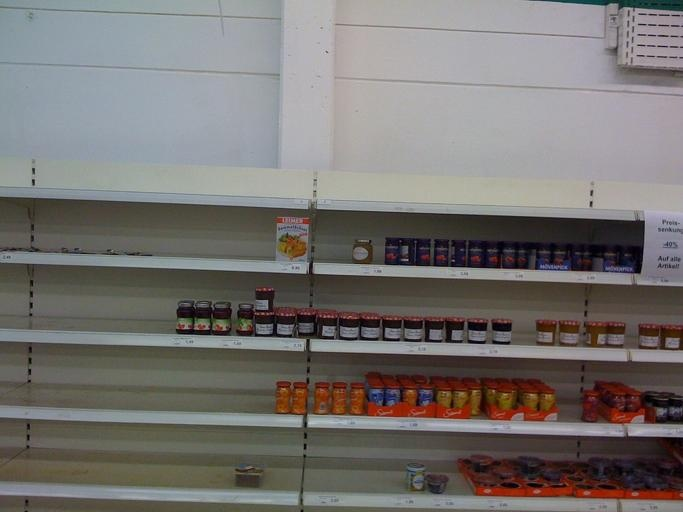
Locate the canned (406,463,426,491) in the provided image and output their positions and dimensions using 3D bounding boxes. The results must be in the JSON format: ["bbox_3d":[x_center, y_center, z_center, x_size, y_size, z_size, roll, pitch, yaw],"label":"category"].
[{"bbox_3d":[0.510,1.503,6.631,0.172,0.157,0.155,1,-93,0],"label":"canned"}]

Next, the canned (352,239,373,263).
[{"bbox_3d":[0.150,-0.027,6.653,0.161,0.148,0.151,1,-93,-1],"label":"canned"}]

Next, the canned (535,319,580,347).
[{"bbox_3d":[1.480,0.529,6.704,0.283,0.179,0.139,2,-92,10],"label":"canned"}]

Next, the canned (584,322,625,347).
[{"bbox_3d":[1.813,0.520,6.673,0.206,0.197,0.107,-1,-88,-37],"label":"canned"}]
